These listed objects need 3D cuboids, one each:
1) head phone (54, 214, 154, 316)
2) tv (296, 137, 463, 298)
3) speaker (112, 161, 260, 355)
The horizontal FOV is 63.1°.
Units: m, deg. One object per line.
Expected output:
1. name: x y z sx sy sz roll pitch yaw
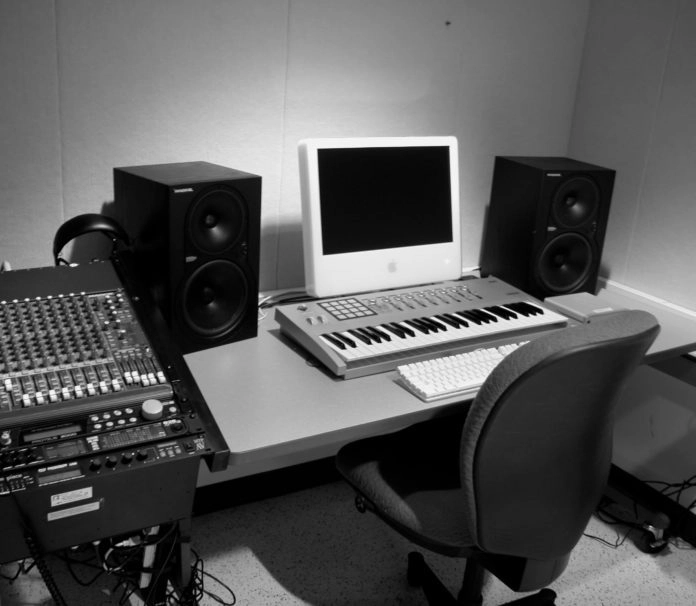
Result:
1. head phone: -0.565 -0.091 1.295 0.180 0.181 0.319 -13 25 -27
2. tv: 0.091 -0.257 1.675 0.418 0.387 0.061 -10 14 -26
3. speaker: -0.484 -0.187 1.541 0.304 0.565 0.495 -14 30 -33
